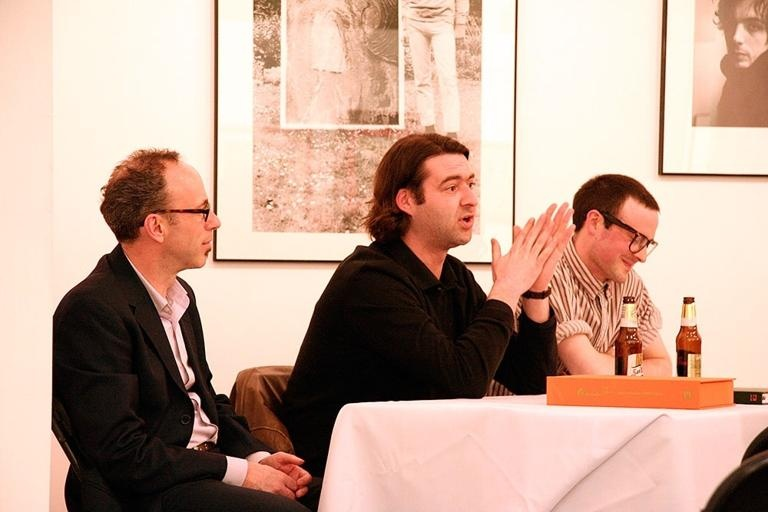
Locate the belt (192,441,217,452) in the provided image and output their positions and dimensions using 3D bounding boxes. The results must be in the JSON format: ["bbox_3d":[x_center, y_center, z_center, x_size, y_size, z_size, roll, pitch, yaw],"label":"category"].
[{"bbox_3d":[-0.591,0.630,2.211,0.057,0.016,0.059,2,-7,-7],"label":"belt"}]

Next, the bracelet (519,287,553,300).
[{"bbox_3d":[0.514,0.125,2.261,0.092,0.043,0.048,0,4,11],"label":"bracelet"}]
